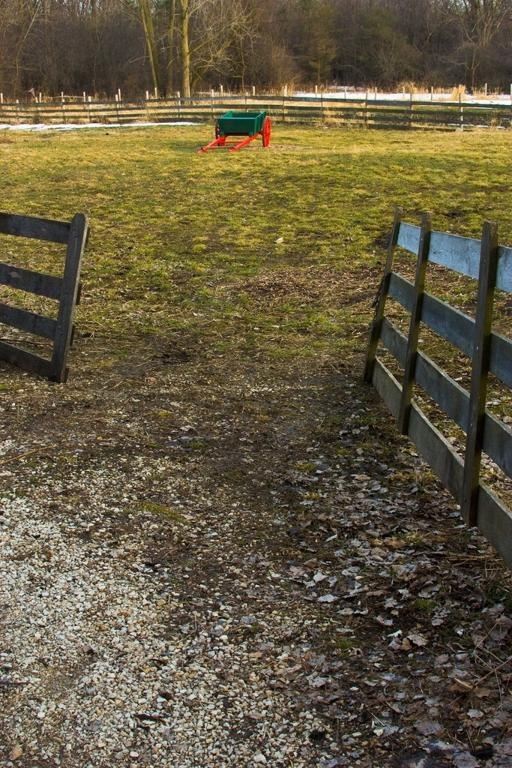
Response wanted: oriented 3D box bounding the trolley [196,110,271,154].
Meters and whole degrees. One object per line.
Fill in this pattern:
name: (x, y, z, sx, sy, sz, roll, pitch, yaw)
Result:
trolley: (-0.184, -7.458, 21.906, 1.448, 0.815, 2.293, 5, 30, 12)
